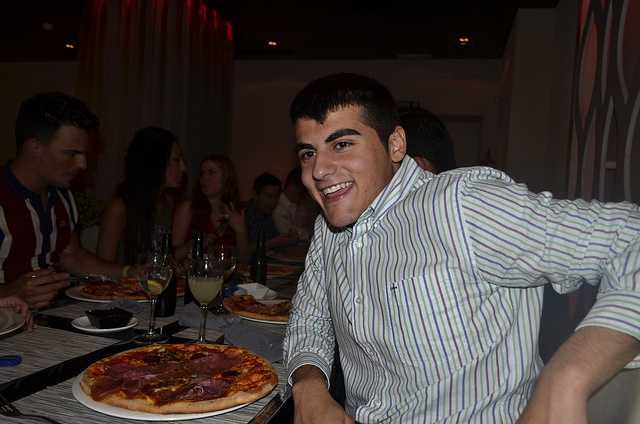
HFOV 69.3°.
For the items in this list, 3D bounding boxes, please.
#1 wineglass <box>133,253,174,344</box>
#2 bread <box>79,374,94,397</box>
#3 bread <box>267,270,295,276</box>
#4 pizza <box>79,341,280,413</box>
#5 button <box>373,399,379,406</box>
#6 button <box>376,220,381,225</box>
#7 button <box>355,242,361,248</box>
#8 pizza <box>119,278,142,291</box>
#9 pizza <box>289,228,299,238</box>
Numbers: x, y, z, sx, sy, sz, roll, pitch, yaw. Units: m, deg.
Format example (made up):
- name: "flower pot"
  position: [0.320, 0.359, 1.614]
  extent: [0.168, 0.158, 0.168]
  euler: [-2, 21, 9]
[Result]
- name: "wineglass"
  position: [-0.680, 0.332, 1.888]
  extent: [0.136, 0.256, 0.300]
  euler: [5, 0, -21]
- name: "bread"
  position: [-0.721, 0.536, 1.431]
  extent: [0.043, 0.015, 0.045]
  euler: [13, 17, 19]
- name: "bread"
  position: [-0.247, 0.399, 3.041]
  extent: [0.201, 0.027, 0.075]
  euler: [6, -1, -31]
- name: "pizza"
  position: [-0.447, 0.536, 1.521]
  extent: [0.583, 0.145, 0.385]
  euler: [6, 0, 14]
- name: "button"
  position: [0.204, 0.692, 1.684]
  extent: [0.013, 0.005, 0.019]
  euler: [4, 24, 10]
- name: "button"
  position: [0.219, 0.036, 1.731]
  extent: [0.017, 0.018, 0.004]
  euler: [1, 3, 16]
- name: "button"
  position: [0.143, 0.122, 1.740]
  extent: [0.018, 0.020, 0.005]
  euler: [-1, -9, 7]
- name: "pizza"
  position: [-0.941, 0.358, 2.321]
  extent: [0.083, 0.026, 0.087]
  euler: [8, 5, 6]
- name: "pizza"
  position: [-0.245, 0.208, 4.235]
  extent: [0.086, 0.027, 0.081]
  euler: [8, 38, -26]
